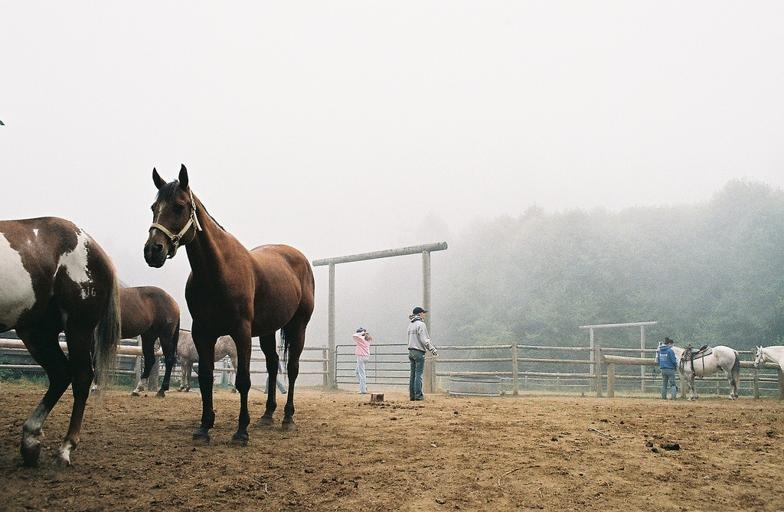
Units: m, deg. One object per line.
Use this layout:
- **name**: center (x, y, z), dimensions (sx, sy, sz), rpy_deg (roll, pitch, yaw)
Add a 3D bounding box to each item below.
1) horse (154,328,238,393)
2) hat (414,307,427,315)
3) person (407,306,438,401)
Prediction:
- **horse**: center (-5.878, 3.296, 24.360), dimensions (3.023, 2.161, 0.756), rpy_deg (4, -24, -7)
- **hat**: center (0.769, 1.480, 20.630), dimensions (0.290, 0.169, 0.190), rpy_deg (-15, 5, -23)
- **person**: center (0.739, 2.560, 20.164), dimensions (0.596, 2.288, 1.144), rpy_deg (1, 6, 1)
